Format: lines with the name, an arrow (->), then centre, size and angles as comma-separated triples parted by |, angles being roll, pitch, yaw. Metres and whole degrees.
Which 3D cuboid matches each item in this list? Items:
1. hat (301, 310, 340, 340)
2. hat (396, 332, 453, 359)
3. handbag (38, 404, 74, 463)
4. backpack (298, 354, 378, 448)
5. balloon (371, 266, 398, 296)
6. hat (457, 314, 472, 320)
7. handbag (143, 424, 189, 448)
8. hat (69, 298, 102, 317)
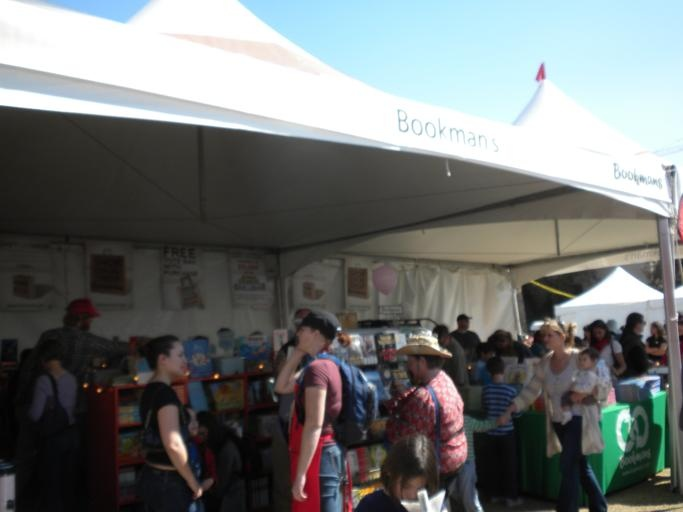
hat -> -0.143, 0.439, 3.616 | 0.223, 0.130, 0.172 | 24, 2, 8
hat -> 0.598, 0.629, 3.777 | 0.281, 0.194, 0.193 | -6, -9, 17
handbag -> -2.494, 1.526, 4.631 | 0.278, 0.468, 0.159 | 2, -10, -30
backpack -> 0.084, 0.952, 3.678 | 0.543, 0.611, 0.361 | -5, -1, 44
balloon -> 0.667, 0.364, 8.222 | 0.330, 0.393, 0.265 | -1, -8, -10
hat -> 2.067, 1.010, 8.789 | 0.215, 0.088, 0.153 | -2, -1, -18
handbag -> -1.138, 1.205, 3.429 | 0.239, 0.133, 0.189 | -2, 3, -15
hat -> -2.695, 0.538, 5.567 | 0.290, 0.171, 0.226 | -2, 0, -31
